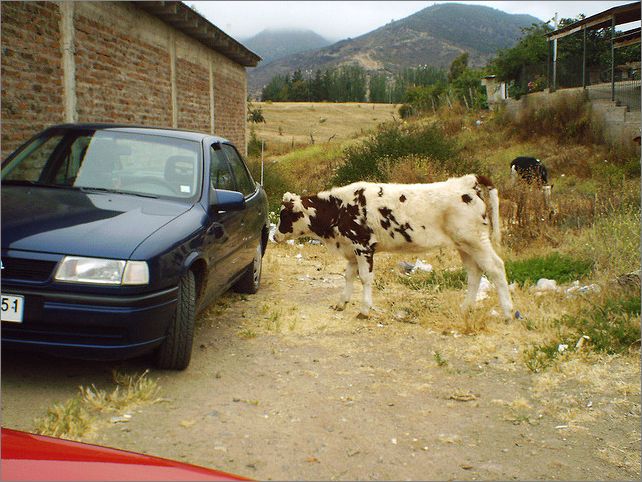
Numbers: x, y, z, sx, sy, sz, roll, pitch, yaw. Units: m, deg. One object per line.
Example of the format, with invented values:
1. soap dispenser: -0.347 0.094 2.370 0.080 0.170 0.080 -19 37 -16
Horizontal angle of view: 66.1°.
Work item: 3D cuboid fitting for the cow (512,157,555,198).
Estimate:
1. cow: 6.074 -1.857 14.256 0.511 1.092 2.080 -14 25 -4
